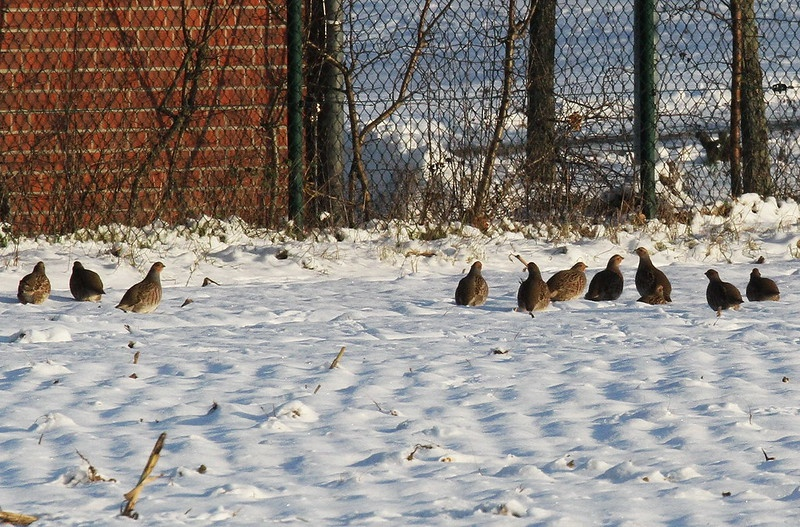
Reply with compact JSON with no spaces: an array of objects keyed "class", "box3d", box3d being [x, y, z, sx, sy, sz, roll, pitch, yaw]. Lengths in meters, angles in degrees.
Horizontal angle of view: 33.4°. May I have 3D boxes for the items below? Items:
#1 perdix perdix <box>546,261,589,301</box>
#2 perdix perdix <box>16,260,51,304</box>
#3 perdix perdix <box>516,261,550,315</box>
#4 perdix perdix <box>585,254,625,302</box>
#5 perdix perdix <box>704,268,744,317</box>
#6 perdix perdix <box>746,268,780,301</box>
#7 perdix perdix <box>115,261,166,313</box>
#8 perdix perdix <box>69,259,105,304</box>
[{"class":"perdix perdix","box3d":[1.785,0.187,14.877,0.575,0.464,0.420,-1,5,-31]},{"class":"perdix perdix","box3d":[-3.927,0.181,14.347,0.358,0.449,0.316,2,2,-42]},{"class":"perdix perdix","box3d":[1.424,0.322,14.427,0.360,0.520,0.710,2,24,13]},{"class":"perdix perdix","box3d":[2.265,0.135,14.871,0.410,0.429,0.302,3,1,3]},{"class":"perdix perdix","box3d":[3.458,0.287,14.260,0.348,0.472,0.606,2,4,-26]},{"class":"perdix perdix","box3d":[3.943,0.214,14.567,0.371,0.320,0.223,3,1,22]},{"class":"perdix perdix","box3d":[-2.764,0.249,14.177,0.347,0.670,0.543,0,-10,35]},{"class":"perdix perdix","box3d":[-3.384,0.204,14.360,0.251,0.420,0.518,-14,10,-21]}]
